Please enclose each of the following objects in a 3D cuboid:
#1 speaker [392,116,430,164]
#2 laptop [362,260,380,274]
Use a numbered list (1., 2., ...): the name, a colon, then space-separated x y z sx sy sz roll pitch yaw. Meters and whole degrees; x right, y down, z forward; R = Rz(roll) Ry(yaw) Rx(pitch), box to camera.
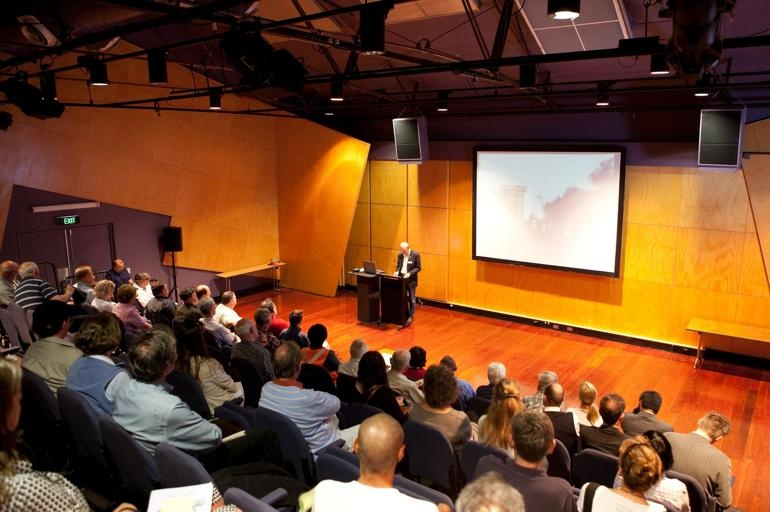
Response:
1. speaker: 0.561 -2.500 11.222 0.719 0.968 0.506 4 0 14
2. laptop: -0.264 0.248 11.299 0.300 0.230 0.247 9 13 32
